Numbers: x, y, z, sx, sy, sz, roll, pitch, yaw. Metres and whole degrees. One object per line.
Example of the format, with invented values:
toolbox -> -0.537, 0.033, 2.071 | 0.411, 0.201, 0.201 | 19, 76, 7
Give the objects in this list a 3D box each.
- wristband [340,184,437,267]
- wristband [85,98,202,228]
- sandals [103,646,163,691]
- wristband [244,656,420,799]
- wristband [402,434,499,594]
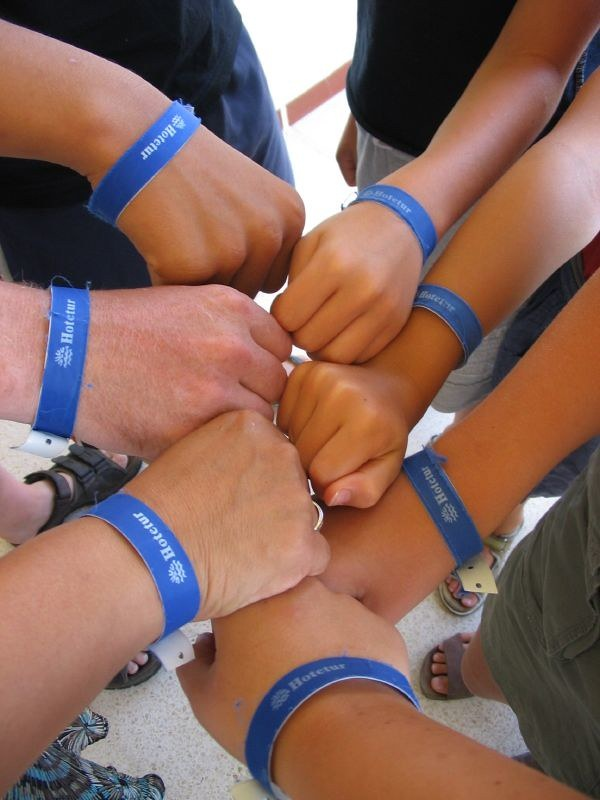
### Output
wristband -> 0.135, -0.253, 0.894 | 0.127, 0.061, 0.071 | 30, 43, 2
wristband -> -0.178, -0.289, 0.790 | 0.064, 0.129, 0.151 | 30, 43, 0
sandals -> -0.298, 0.506, 1.205 | 0.095, 0.101, 0.040 | -27, 67, -41
wristband -> 0.024, 0.326, 0.681 | 0.154, 0.139, 0.095 | -18, 60, -38
wristband -> 0.185, 0.145, 0.847 | 0.044, 0.116, 0.177 | -34, 76, -2
